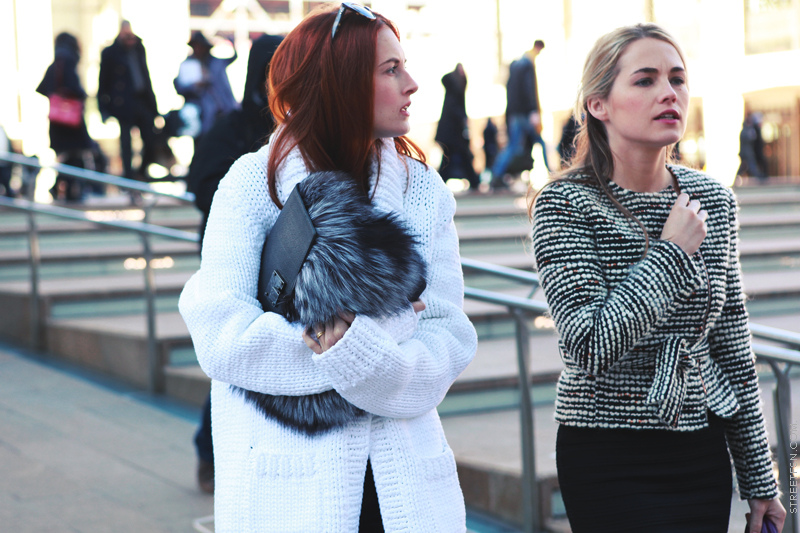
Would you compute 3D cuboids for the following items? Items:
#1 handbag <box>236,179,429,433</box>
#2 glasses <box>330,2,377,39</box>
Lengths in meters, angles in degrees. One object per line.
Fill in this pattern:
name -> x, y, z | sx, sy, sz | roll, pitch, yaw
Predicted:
handbag -> -0.327, 0.111, 3.681 | 0.392, 0.909, 0.646 | 30, 6, -22
glasses -> -0.185, -0.920, 3.646 | 0.043, 0.152, 0.146 | 37, 23, 21
